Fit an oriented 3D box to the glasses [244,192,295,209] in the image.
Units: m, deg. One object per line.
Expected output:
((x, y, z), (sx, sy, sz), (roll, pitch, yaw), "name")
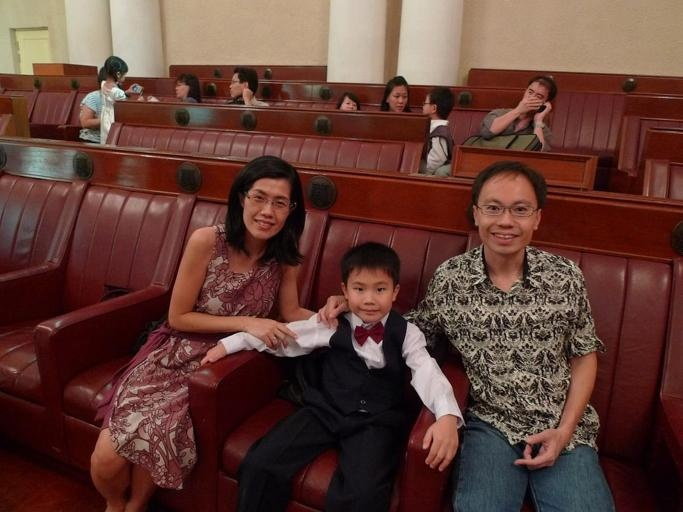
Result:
((-0.310, -0.230, 1.958), (0.178, 0.059, 0.049), (6, 11, 6), "glasses")

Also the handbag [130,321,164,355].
((-0.882, 0.375, 2.158), (0.053, 0.111, 0.151), (23, 58, 40), "handbag")

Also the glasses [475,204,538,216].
((0.582, -0.162, 1.693), (0.183, 0.049, 0.050), (9, 11, 20), "glasses")

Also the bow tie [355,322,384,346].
((0.109, 0.306, 1.854), (0.088, 0.078, 0.023), (-2, 7, 6), "bow tie")
